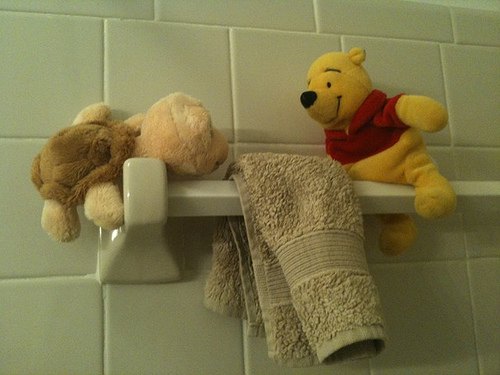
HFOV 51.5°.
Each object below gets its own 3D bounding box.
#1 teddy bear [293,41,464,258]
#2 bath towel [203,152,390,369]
[{"bbox_3d":[0.224,-0.073,0.953,0.193,0.292,0.377,6,62,-38],"label":"teddy bear"},{"bbox_3d":[0.077,0.094,0.899,0.286,0.148,0.377,2,79,1],"label":"bath towel"}]
